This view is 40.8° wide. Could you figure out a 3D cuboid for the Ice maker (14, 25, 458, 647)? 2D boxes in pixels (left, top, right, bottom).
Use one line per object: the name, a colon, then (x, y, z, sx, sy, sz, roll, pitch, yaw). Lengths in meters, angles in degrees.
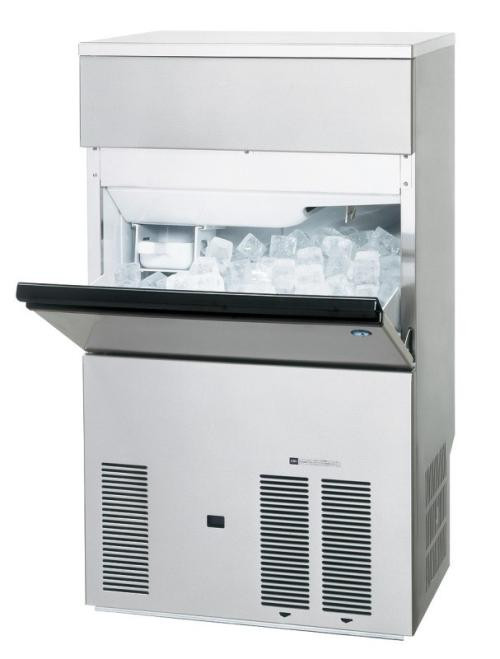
Ice maker: (-0.005, 0.035, 1.913, 0.893, 1.027, 1.607, 2, -80, 6)
